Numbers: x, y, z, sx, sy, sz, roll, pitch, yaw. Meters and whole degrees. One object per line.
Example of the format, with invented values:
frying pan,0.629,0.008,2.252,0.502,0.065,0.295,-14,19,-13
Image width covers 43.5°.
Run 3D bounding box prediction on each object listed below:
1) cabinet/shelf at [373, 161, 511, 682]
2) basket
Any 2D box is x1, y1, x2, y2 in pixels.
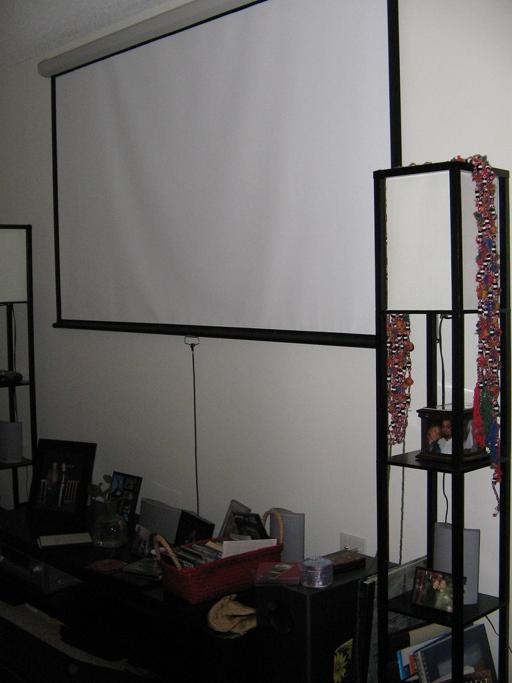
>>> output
cabinet/shelf,0.481,0.237,1.691,0.450,1.326,0.345,2,-2,-41
basket,-0.100,0.626,2.008,0.196,0.202,0.311,0,2,42
